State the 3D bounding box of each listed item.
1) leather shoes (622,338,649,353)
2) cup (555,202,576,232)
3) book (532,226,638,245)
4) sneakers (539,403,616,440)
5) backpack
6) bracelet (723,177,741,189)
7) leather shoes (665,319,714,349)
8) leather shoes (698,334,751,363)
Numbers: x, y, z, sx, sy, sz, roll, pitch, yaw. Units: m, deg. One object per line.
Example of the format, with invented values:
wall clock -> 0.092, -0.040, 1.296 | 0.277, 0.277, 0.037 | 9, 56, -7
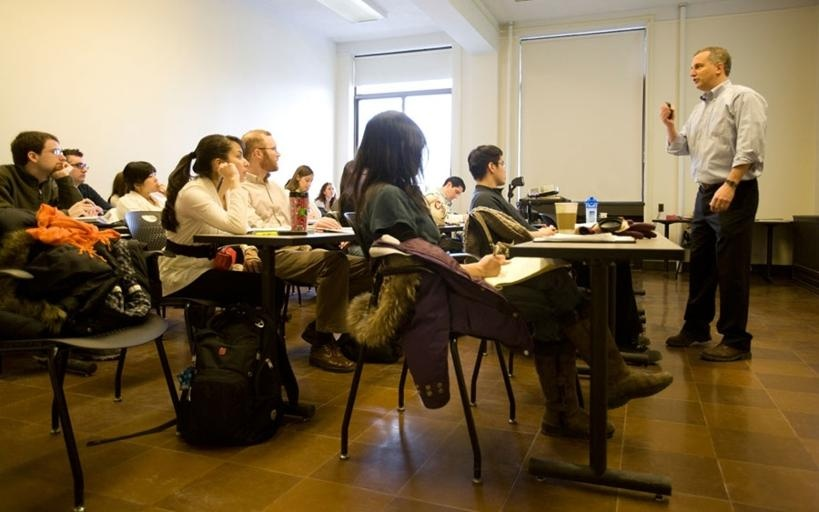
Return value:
leather shoes -> 1.707, 0.674, 4.292 | 0.143, 0.067, 0.199 | 0, -2, 29
cup -> 0.903, -0.238, 3.255 | 0.139, 0.152, 0.139 | -2, 4, 0
book -> 0.871, -0.101, 2.801 | 0.504, 0.061, 0.333 | 3, 14, 9
sneakers -> 0.953, 0.936, 3.229 | 0.426, 0.191, 0.157 | -2, 2, 10
backpack -> -0.997, 0.677, 3.187 | 0.560, 0.737, 0.405 | 1, 3, 1
bracelet -> 2.324, -0.528, 4.084 | 0.078, 0.080, 0.076 | -25, -22, 1
leather shoes -> 2.230, 0.637, 4.502 | 0.436, 0.218, 0.160 | 1, -2, -8
leather shoes -> 2.353, 0.690, 4.201 | 0.356, 0.180, 0.168 | 1, -2, 1
